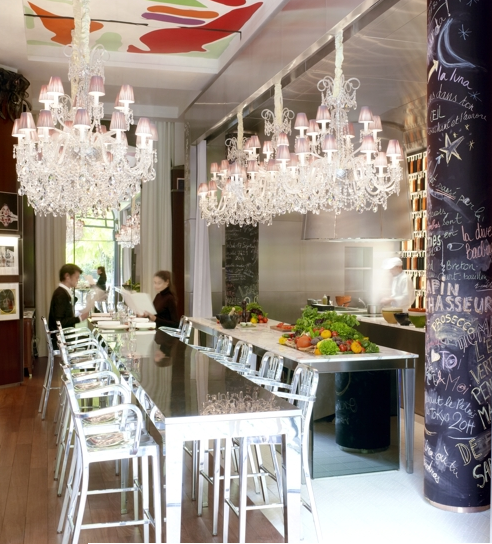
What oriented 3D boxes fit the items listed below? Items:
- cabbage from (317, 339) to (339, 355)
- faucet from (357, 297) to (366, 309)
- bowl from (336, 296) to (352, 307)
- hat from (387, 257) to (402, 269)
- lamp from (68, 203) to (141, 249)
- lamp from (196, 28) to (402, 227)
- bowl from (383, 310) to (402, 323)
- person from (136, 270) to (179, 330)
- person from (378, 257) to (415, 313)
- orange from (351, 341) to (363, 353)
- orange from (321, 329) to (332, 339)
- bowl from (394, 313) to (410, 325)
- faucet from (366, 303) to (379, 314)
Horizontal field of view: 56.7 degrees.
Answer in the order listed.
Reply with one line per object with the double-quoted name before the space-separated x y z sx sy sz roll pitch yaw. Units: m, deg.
"cabbage" 0.638 0.568 3.569 0.101 0.099 0.136 -1 -2 -5
"faucet" 2.271 0.605 8.904 0.144 0.205 0.455 2 2 11
"bowl" 1.606 0.468 7.531 0.213 0.195 0.245 0 -9 -4
"hat" 2.492 -0.170 7.631 0.264 0.293 0.458 -2 -3 22
"lamp" -3.717 -1.280 12.667 1.515 0.718 1.309 0 2 6
"lamp" 0.549 -1.551 5.609 1.831 1.789 3.510 1 2 -18
"bowl" 1.790 0.549 5.625 0.141 0.135 0.162 0 -8 1
"person" -1.220 0.469 6.495 0.523 0.964 0.394 -10 15 -36
"person" 2.527 0.192 7.590 0.554 1.292 0.757 2 -1 10
"orange" 0.882 0.596 3.620 0.082 0.093 0.035 28 -44 -25
"orange" 0.664 0.505 3.780 0.059 0.077 0.065 1 1 22
"bowl" 1.871 0.559 5.475 0.126 0.114 0.145 -1 -7 4
"faucet" 1.897 0.548 6.730 0.215 0.138 0.241 2 2 4
